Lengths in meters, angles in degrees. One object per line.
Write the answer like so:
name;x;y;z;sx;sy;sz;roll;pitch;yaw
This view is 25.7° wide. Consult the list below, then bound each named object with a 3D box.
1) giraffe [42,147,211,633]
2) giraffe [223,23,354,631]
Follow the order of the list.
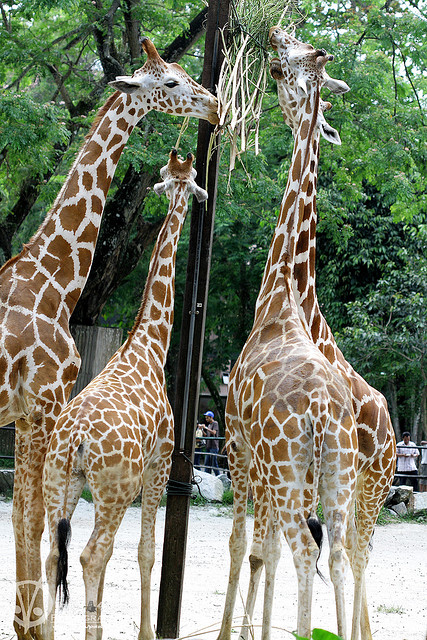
giraffe;-0.512;0.357;5.549;0.592;2.888;1.600;5;4;10
giraffe;0.432;0.095;5.058;0.662;3.431;1.564;4;4;1
